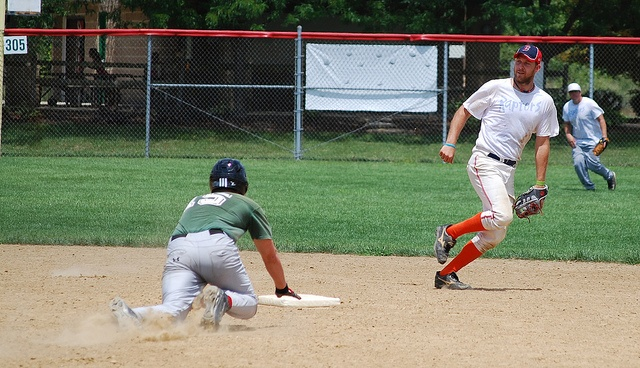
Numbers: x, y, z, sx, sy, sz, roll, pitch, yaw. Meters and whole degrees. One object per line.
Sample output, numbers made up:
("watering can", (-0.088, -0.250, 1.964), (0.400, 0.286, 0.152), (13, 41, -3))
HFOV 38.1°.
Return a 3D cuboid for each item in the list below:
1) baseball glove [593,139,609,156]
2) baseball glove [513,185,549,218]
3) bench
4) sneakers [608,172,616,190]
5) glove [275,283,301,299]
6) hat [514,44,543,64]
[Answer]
("baseball glove", (7.905, -1.037, 26.237), (0.342, 0.531, 0.174), (36, 4, -11))
("baseball glove", (4.614, 0.427, 20.194), (0.351, 0.774, 0.566), (55, 0, 33))
("bench", (-9.745, -3.794, 38.055), (1.593, 2.081, 5.275), (5, 4, -2))
("sneakers", (8.214, -0.065, 26.207), (0.186, 0.565, 0.223), (6, 1, 43))
("glove", (-0.708, 2.282, 19.520), (0.610, 0.269, 0.206), (2, 4, -7))
("hat", (4.585, -2.785, 20.036), (0.363, 0.278, 0.511), (22, 2, 42))
